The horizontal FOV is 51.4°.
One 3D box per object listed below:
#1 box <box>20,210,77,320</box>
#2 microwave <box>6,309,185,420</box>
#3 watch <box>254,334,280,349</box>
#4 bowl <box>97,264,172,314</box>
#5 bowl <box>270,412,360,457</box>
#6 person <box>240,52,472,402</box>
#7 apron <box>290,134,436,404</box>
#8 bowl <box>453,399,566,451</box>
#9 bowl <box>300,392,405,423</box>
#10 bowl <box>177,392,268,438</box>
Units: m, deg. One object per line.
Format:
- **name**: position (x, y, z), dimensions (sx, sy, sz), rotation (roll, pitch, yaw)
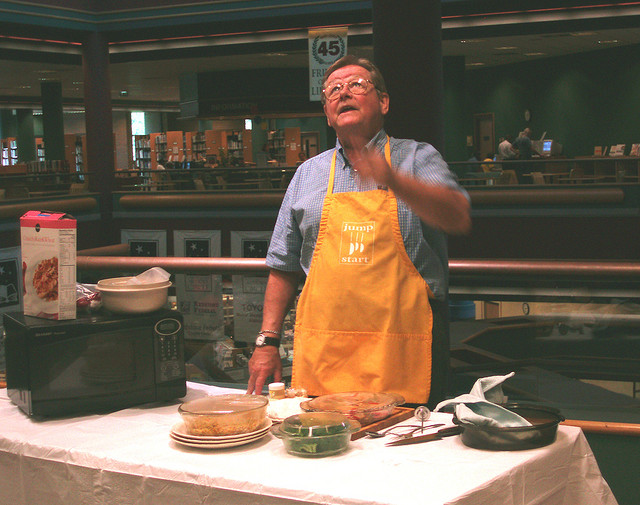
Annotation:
- **box**: position (-0.776, 0.040, 1.905), dimensions (0.161, 0.296, 0.088), rotation (3, 10, 35)
- **microwave**: position (-0.709, 0.271, 2.008), dimensions (0.532, 0.245, 0.351), rotation (-1, 0, -31)
- **watch**: position (-0.164, 0.275, 2.081), dimensions (0.068, 0.031, 0.058), rotation (4, -2, 2)
- **bowl**: position (-0.536, 0.109, 1.974), dimensions (0.194, 0.087, 0.170), rotation (-2, 2, 15)
- **bowl**: position (-0.002, 0.436, 1.616), dimensions (0.217, 0.054, 0.172), rotation (-3, 4, 22)
- **person**: position (0.087, -0.048, 1.905), dimensions (0.673, 1.061, 0.514), rotation (-2, 8, 10)
- **apron**: position (0.118, 0.106, 1.962), dimensions (0.436, 0.700, 0.229), rotation (-3, 8, -3)
- **bowl**: position (0.469, 0.416, 1.632), dimensions (0.256, 0.091, 0.179), rotation (-7, 9, -38)
- **bowl**: position (0.086, 0.401, 1.791), dimensions (0.262, 0.038, 0.231), rotation (-9, 4, 18)
- **bowl**: position (-0.276, 0.422, 1.698), dimensions (0.262, 0.074, 0.237), rotation (3, -4, -4)
